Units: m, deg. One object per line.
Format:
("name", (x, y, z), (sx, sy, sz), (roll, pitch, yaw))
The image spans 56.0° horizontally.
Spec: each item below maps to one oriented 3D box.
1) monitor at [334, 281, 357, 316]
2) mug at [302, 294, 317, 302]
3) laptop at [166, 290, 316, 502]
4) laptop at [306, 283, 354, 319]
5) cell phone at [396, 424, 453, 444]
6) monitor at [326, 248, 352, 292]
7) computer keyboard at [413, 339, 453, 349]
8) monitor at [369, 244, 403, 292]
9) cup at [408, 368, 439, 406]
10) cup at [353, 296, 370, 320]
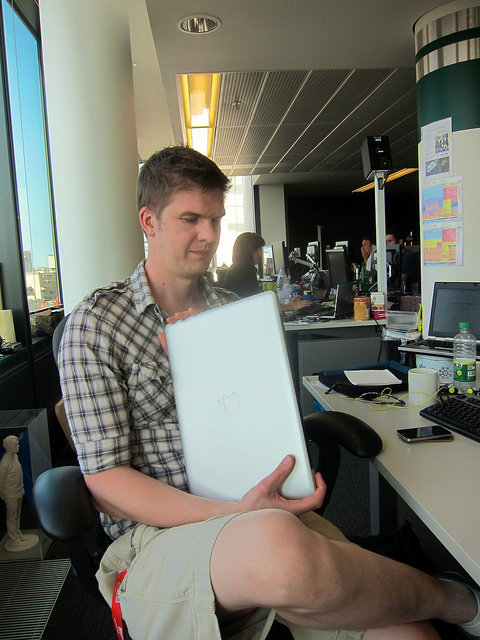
("monitor", (0.821, -0.187, 3.531), (0.218, 0.202, 0.325), (2, 6, 28))
("mug", (0.691, -0.230, 4.512), (0.108, 0.083, 0.109), (0, -6, -5))
("laptop", (-0.013, 0.160, 0.908), (0.321, 0.425, 0.078), (3, 11, 40))
("laptop", (0.728, -0.111, 3.523), (0.253, 0.231, 0.375), (1, 4, 21))
("cell phone", (0.467, 0.289, 1.139), (0.164, 0.017, 0.087), (-3, -3, -31))
("monitor", (0.849, -0.462, 3.919), (0.164, 0.208, 0.024), (-4, 7, 30))
("computer keyboard", (0.798, 0.095, 1.839), (0.146, 0.012, 0.117), (3, 12, 41))
("monitor", (1.351, -0.500, 4.304), (0.287, 0.429, 0.225), (8, 28, 30))
("cup", (0.577, 0.211, 1.462), (0.081, 0.099, 0.110), (-3, -1, 7))
("cup", (0.878, -0.083, 3.283), (0.141, 0.169, 0.146), (-2, 3, 0))
